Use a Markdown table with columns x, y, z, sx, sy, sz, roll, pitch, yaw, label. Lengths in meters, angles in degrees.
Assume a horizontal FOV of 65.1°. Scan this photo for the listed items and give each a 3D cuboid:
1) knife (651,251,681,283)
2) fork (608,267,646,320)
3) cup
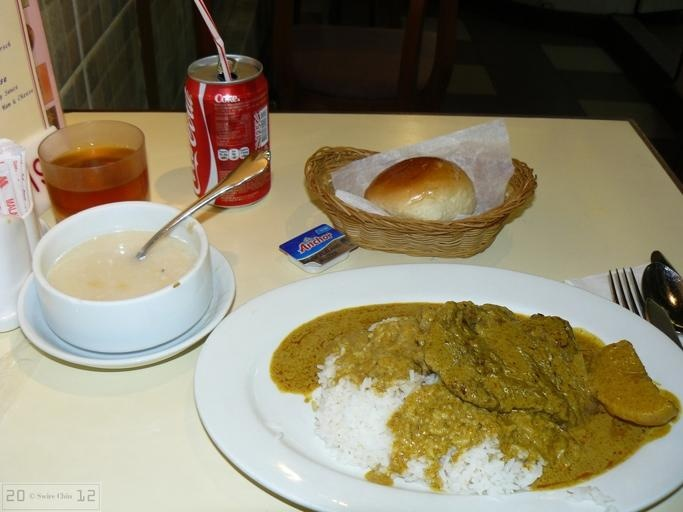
| x | y | z | sx | sy | sz | roll | pitch | yaw | label |
| --- | --- | --- | --- | --- | --- | --- | --- | --- | --- |
| 0.545 | 0.017 | 0.927 | 0.034 | 0.032 | 0.055 | -15 | 43 | -38 | knife |
| 0.462 | 0.060 | 0.871 | 0.056 | 0.026 | 0.078 | 5 | 53 | -9 | fork |
| -0.416 | -0.118 | 0.964 | 0.166 | 0.129 | 0.177 | 1 | 39 | -1 | cup |
